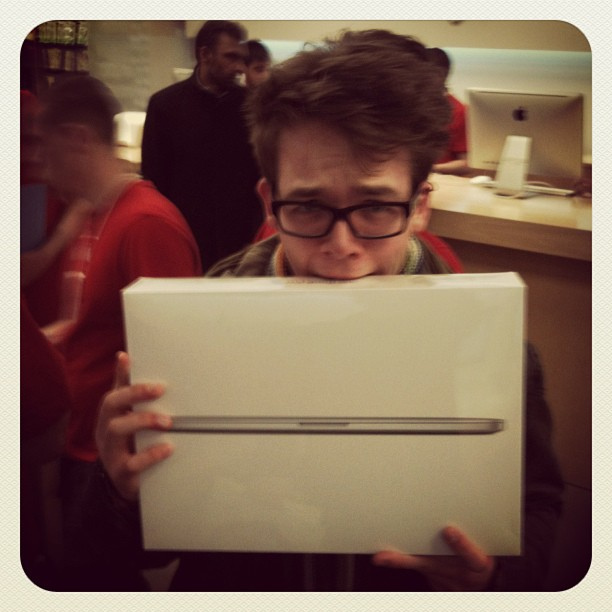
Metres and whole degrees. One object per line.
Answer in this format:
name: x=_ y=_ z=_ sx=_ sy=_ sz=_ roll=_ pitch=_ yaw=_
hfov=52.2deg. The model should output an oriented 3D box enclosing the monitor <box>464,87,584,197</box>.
monitor: x=0.358 y=-0.277 z=1.059 sx=0.203 sy=0.170 sz=0.084 roll=8 pitch=25 yaw=23
